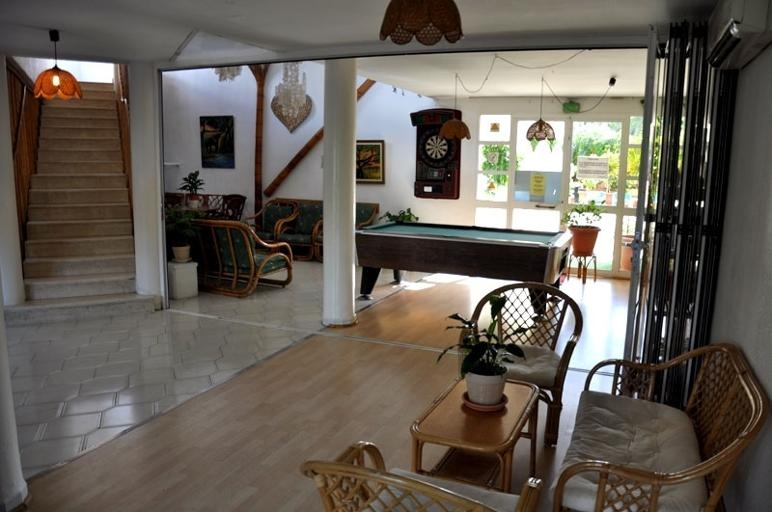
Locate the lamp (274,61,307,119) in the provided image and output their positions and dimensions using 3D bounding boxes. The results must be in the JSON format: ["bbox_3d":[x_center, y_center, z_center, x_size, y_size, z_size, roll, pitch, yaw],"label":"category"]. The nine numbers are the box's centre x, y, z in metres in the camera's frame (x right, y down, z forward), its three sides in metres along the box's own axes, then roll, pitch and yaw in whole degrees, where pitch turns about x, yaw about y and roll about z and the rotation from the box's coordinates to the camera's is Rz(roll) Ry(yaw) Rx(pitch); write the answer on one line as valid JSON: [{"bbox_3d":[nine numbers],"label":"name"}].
[{"bbox_3d":[-1.919,-3.370,10.028,0.632,1.084,0.740,-1,10,-11],"label":"lamp"}]

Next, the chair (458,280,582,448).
[{"bbox_3d":[1.175,0.939,4.215,1.149,1.362,1.012,4,9,37],"label":"chair"}]

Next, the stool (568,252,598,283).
[{"bbox_3d":[3.563,0.222,8.996,0.560,0.640,0.588,0,7,19],"label":"stool"}]

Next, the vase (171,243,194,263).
[{"bbox_3d":[-3.035,-0.028,7.460,0.264,0.265,0.261,0,0,13],"label":"vase"}]

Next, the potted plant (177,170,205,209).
[{"bbox_3d":[-4.027,-1.397,10.302,0.460,0.724,1.726,-3,10,-21],"label":"potted plant"}]

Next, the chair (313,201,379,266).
[{"bbox_3d":[-0.741,-0.505,10.067,1.070,1.527,1.223,1,2,16],"label":"chair"}]

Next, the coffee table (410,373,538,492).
[{"bbox_3d":[0.615,1.112,3.406,0.723,0.698,0.927,3,11,19],"label":"coffee table"}]

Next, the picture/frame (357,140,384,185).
[{"bbox_3d":[-0.299,-1.891,10.037,0.881,0.937,0.069,3,6,22],"label":"picture/frame"}]
